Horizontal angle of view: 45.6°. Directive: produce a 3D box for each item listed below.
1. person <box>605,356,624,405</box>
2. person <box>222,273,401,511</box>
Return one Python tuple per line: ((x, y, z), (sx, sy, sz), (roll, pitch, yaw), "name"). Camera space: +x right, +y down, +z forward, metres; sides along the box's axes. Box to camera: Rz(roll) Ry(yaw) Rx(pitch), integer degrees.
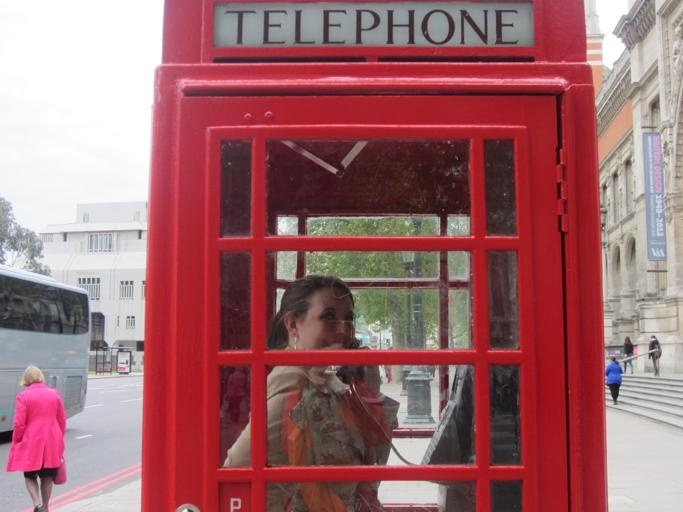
((6.874, 3.141, 20.466), (0.351, 1.149, 2.314), (-2, -7, 19), "person")
((-0.048, 0.637, 4.159), (0.720, 1.766, 0.992), (-4, -6, 18), "person")
